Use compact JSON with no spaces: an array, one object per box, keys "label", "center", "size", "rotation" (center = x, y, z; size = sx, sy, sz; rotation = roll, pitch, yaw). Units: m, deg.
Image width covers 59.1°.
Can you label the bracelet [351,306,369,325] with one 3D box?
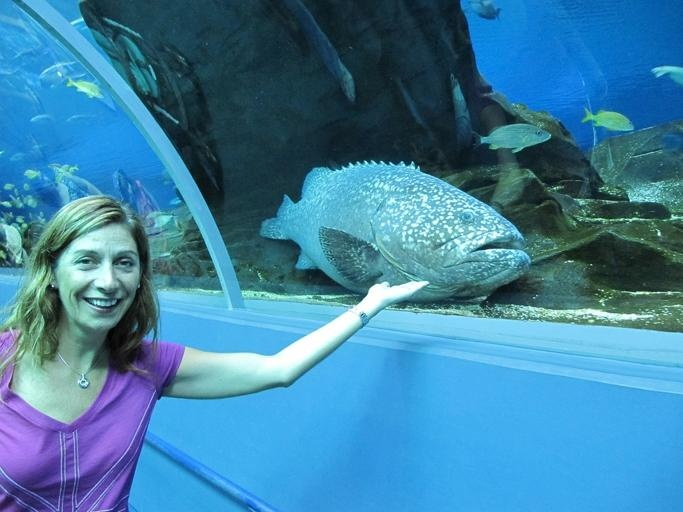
[{"label":"bracelet","center":[0.075,0.269,2.284],"size":[0.031,0.065,0.054],"rotation":[-27,36,-30]}]

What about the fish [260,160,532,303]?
[{"label":"fish","center":[0.114,-0.139,2.781],"size":[1.629,0.611,0.547],"rotation":[11,15,43]}]
